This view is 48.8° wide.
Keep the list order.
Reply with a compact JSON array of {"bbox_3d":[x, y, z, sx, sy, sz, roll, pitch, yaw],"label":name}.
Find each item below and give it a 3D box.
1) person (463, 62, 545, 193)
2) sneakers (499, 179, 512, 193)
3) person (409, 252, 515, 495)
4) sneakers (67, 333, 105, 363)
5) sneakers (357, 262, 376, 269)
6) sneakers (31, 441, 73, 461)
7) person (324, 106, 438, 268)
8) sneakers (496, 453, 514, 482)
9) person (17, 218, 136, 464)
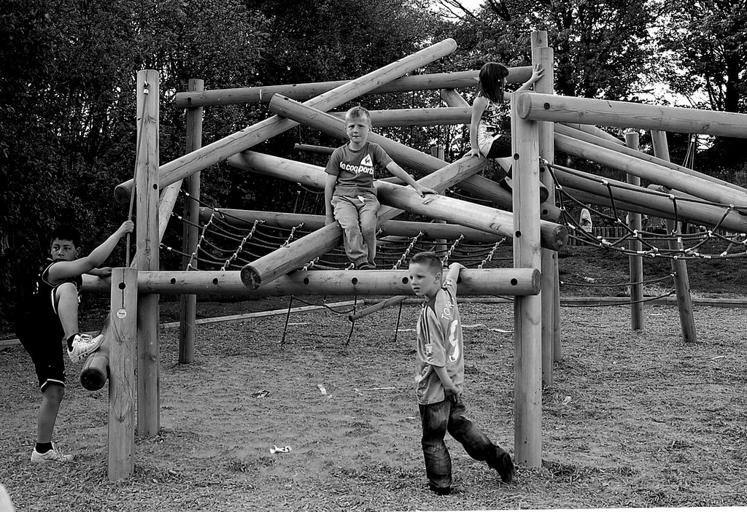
[{"bbox_3d":[1.542,-1.560,10.012,0.840,1.559,1.222,-2,8,-13],"label":"person"},{"bbox_3d":[1.612,-0.866,10.063,0.122,0.168,0.106,-14,31,0],"label":"sneakers"},{"bbox_3d":[0.784,1.114,8.086,0.874,2.271,0.636,0,8,2],"label":"person"},{"bbox_3d":[-2.945,0.944,8.434,0.358,0.298,0.256,7,11,42],"label":"sneakers"},{"bbox_3d":[-0.078,0.108,8.965,0.194,0.085,0.386,0,8,-1],"label":"sneakers"},{"bbox_3d":[-3.372,2.067,8.737,0.520,0.246,0.182,3,-1,-11],"label":"sneakers"},{"bbox_3d":[-0.184,-0.775,9.235,0.716,1.762,0.804,-1,8,-3],"label":"person"},{"bbox_3d":[1.282,2.070,8.080,0.088,0.291,0.124,-15,39,3],"label":"sneakers"},{"bbox_3d":[-3.250,0.915,8.696,1.079,2.414,0.656,1,8,7],"label":"person"}]
